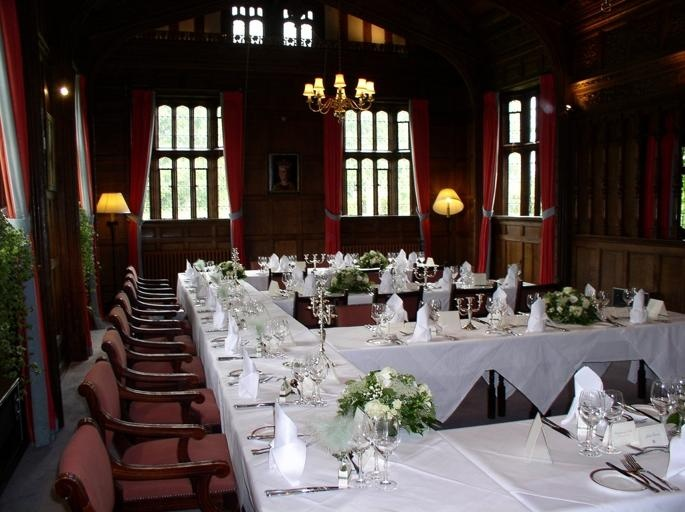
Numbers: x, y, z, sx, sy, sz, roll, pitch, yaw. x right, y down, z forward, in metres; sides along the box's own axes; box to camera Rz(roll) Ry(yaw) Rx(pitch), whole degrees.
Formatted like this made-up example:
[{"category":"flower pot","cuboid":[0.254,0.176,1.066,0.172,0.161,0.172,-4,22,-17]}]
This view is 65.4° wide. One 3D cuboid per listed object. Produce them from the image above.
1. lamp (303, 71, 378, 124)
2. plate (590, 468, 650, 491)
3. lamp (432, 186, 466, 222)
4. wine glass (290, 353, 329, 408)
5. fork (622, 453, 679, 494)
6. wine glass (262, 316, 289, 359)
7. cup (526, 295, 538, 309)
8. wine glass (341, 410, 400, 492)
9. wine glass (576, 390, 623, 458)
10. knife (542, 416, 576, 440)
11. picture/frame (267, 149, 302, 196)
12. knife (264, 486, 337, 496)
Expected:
[{"category":"lamp","cuboid":[-0.062,-2.502,8.560,1.042,0.715,1.159,0,12,9]},{"category":"plate","cuboid":[1.286,1.053,2.497,0.232,0.036,0.168,1,3,38]},{"category":"lamp","cuboid":[2.570,-1.302,13.006,0.692,0.721,0.584,-2,3,-38]},{"category":"wine glass","cuboid":[-0.201,0.774,3.270,0.223,0.390,0.136,-1,-4,-3]},{"category":"fork","cuboid":[1.447,1.033,2.553,0.059,0.036,0.225,-3,14,-6]},{"category":"wine glass","cuboid":[-0.540,0.621,4.181,0.220,0.407,0.220,-1,9,-10]},{"category":"cup","cuboid":[1.812,0.440,5.105,0.091,0.190,0.108,1,1,4]},{"category":"wine glass","cuboid":[0.099,0.892,2.527,0.288,0.469,0.257,2,-3,-6]},{"category":"wine glass","cuboid":[1.325,0.843,2.786,0.165,0.338,0.293,1,3,29]},{"category":"knife","cuboid":[1.202,0.957,2.985,0.040,0.030,0.229,-6,4,-10]},{"category":"picture/frame","cuboid":[-1.362,-1.885,12.291,0.717,1.077,0.081,-1,-23,-8]},{"category":"knife","cuboid":[-0.190,1.082,2.461,0.341,0.030,0.050,0,2,-2]}]
